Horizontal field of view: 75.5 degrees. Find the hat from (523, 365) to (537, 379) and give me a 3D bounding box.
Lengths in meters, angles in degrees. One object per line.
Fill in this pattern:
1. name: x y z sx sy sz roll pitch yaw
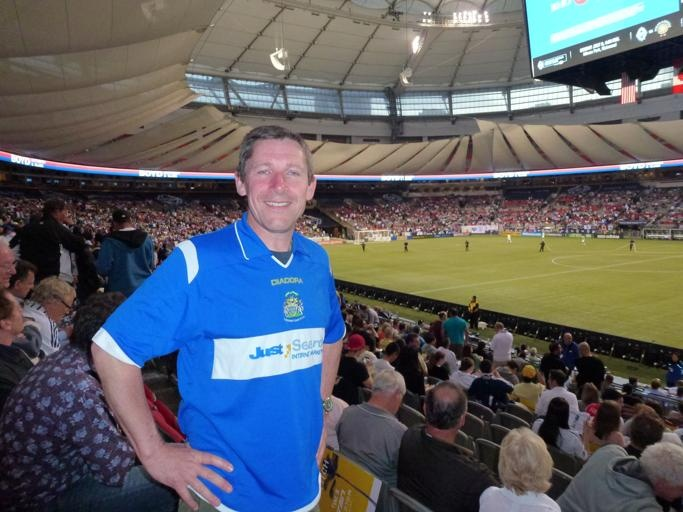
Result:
1. hat: 3.852 2.328 8.983 0.375 0.192 0.380 -7 -7 13
